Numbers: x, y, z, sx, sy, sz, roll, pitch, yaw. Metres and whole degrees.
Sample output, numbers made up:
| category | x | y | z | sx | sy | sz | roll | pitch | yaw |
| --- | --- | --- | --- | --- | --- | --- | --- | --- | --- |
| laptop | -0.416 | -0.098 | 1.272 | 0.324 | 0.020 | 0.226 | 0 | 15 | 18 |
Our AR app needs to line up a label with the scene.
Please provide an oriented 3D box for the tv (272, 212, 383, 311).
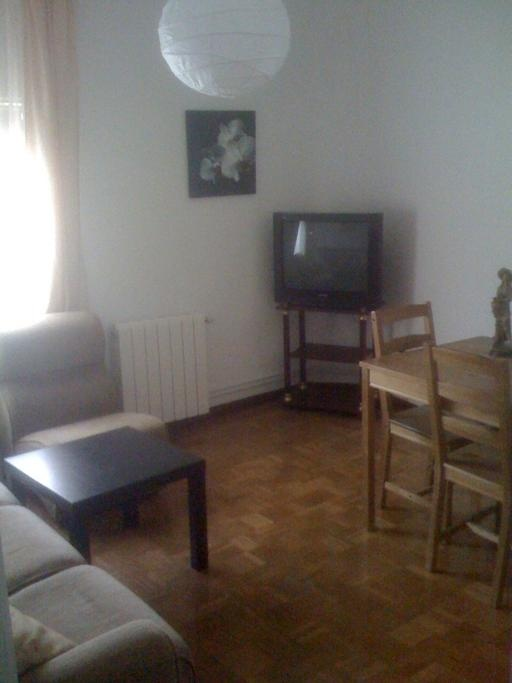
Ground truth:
| category | x | y | z | sx | sy | sz | roll | pitch | yaw |
| --- | --- | --- | --- | --- | --- | --- | --- | --- | --- |
| tv | 0.487 | -0.529 | 3.848 | 0.633 | 0.602 | 0.341 | 3 | 9 | 25 |

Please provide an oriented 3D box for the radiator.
| category | x | y | z | sx | sy | sz | roll | pitch | yaw |
| --- | --- | --- | --- | --- | --- | --- | --- | --- | --- |
| radiator | -0.589 | 0.143 | 3.484 | 0.626 | 0.618 | 0.069 | -6 | 5 | -42 |

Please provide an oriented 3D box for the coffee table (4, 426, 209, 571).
| category | x | y | z | sx | sy | sz | roll | pitch | yaw |
| --- | --- | --- | --- | --- | --- | --- | --- | --- | --- |
| coffee table | -0.539 | 0.425 | 2.239 | 0.541 | 0.437 | 0.549 | -8 | 13 | -38 |

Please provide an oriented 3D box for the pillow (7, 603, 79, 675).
| category | x | y | z | sx | sy | sz | roll | pitch | yaw |
| --- | --- | --- | --- | --- | --- | --- | --- | --- | --- |
| pillow | -0.394 | 0.547 | 1.101 | 0.102 | 0.111 | 0.138 | -7 | 12 | -23 |
